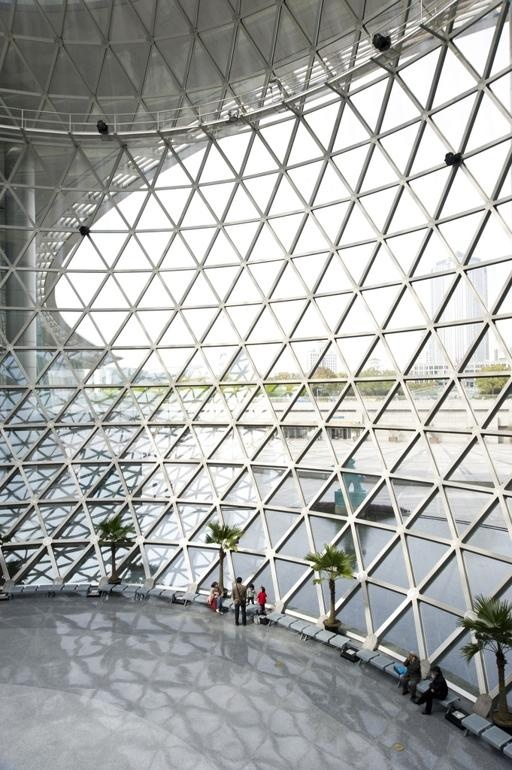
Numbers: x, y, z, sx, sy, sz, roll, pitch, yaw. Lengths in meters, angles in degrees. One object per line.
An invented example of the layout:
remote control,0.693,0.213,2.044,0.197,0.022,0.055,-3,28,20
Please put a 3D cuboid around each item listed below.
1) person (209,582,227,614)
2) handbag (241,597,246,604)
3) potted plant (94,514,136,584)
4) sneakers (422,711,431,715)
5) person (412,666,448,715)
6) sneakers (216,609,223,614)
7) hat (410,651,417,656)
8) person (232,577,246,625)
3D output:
person,-1.416,7.561,20.644,0.607,0.987,0.511,1,-26,9
handbag,-0.432,7.067,19.057,0.143,0.144,0.151,0,-20,1
potted plant,-5.766,6.591,23.682,1.315,2.861,2.010,7,-26,-3
sneakers,3.922,7.517,13.373,0.137,0.067,0.084,8,-11,7
person,4.171,7.151,13.690,0.656,1.062,0.445,12,-4,-5
sneakers,-1.271,7.907,20.261,0.264,0.209,0.295,8,-27,-4
hat,3.941,6.711,14.566,0.101,0.115,0.139,25,3,1
person,-0.544,7.239,19.391,0.544,1.463,1.116,4,-26,1
